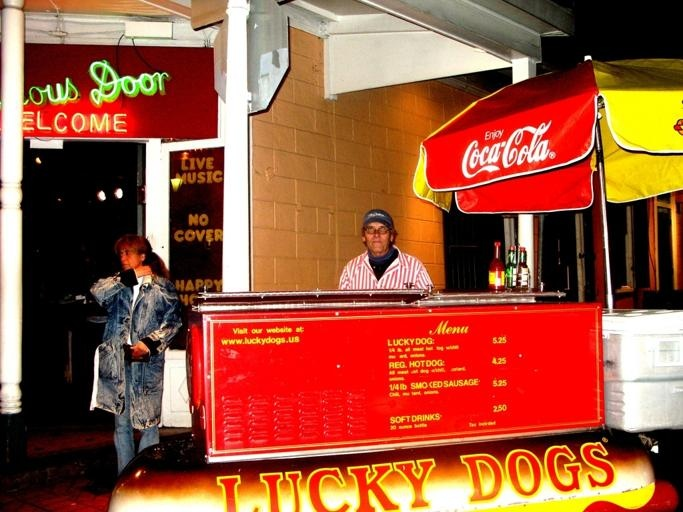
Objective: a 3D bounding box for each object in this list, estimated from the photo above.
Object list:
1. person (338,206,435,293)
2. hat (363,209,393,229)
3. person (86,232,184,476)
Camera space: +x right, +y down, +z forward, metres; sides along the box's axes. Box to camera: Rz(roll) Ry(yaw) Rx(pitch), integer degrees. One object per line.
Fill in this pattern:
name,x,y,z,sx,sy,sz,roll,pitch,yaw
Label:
person,0.396,-0.045,6.448,0.937,0.809,0.484,-1,-3,18
hat,0.338,-0.365,6.327,0.231,0.190,0.401,-1,-5,0
person,-1.940,0.926,6.337,0.807,2.184,0.594,1,7,-8
